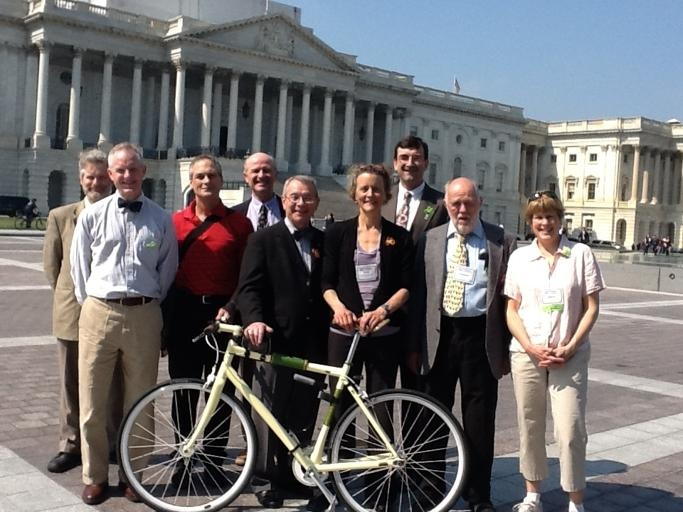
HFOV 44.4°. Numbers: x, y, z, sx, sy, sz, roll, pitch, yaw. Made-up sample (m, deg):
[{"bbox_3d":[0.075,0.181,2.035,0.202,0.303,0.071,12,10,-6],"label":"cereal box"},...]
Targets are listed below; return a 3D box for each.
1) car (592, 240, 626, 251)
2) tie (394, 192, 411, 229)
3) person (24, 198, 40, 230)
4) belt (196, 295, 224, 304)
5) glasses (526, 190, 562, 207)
[{"bbox_3d":[22.598,-0.921,70.741,3.249,1.071,1.582,-1,-1,35],"label":"car"},{"bbox_3d":[0.617,-0.439,8.160,0.086,0.452,0.077,23,-5,-30],"label":"tie"},{"bbox_3d":[-14.299,-1.960,38.561,0.662,1.256,3.116,0,6,-21],"label":"person"},{"bbox_3d":[-1.158,0.387,7.415,0.217,0.081,0.035,1,6,-11],"label":"belt"},{"bbox_3d":[1.690,-0.464,6.945,0.156,0.163,0.049,1,47,23],"label":"glasses"}]
